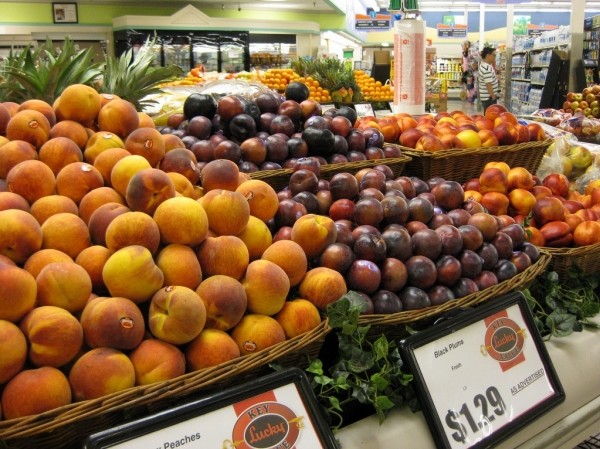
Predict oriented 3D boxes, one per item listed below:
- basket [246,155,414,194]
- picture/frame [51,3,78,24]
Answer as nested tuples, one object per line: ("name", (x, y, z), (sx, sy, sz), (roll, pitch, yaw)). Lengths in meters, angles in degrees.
("basket", (0.122, -0.363, 2.051), (0.543, 0.117, 0.326), (-12, 7, -20))
("picture/frame", (-6.506, -5.807, 11.489), (0.590, 0.733, 0.055), (0, 12, -20))
